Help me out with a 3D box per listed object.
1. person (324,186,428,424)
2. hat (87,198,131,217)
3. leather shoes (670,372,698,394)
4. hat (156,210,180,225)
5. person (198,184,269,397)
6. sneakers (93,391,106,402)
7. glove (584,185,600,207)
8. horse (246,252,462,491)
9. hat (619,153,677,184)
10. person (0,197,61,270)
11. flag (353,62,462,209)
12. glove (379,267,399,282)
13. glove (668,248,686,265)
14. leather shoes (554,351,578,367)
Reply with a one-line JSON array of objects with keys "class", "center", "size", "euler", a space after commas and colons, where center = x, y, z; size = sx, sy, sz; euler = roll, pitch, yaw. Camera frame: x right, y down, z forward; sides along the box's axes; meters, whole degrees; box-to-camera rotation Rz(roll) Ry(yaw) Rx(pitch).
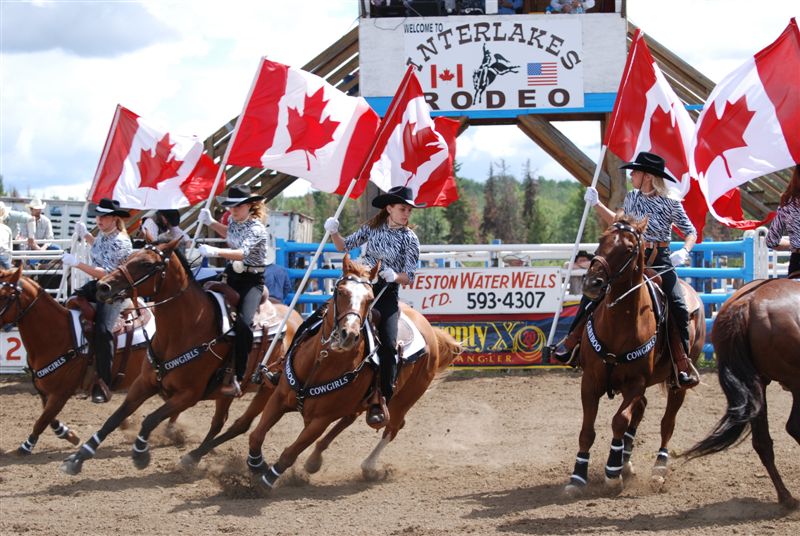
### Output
[{"class": "person", "center": [-0.366, 0.531, 18.792], "size": [1.002, 3.454, 1.051], "euler": [14, 19, 27]}, {"class": "hat", "center": [-4.065, -0.847, 19.652], "size": [0.316, 0.166, 0.379], "euler": [12, 3, 26]}, {"class": "leather shoes", "center": [3.873, 1.589, 18.858], "size": [0.344, 0.150, 0.265], "euler": [-8, 23, -30]}, {"class": "hat", "center": [-3.517, -0.770, 20.976], "size": [0.240, 0.307, 0.210], "euler": [-15, -5, 39]}, {"class": "person", "center": [-2.342, 0.204, 19.407], "size": [0.852, 2.664, 1.164], "euler": [1, 8, -14]}, {"class": "sneakers", "center": [-4.285, 1.869, 19.856], "size": [0.157, 0.202, 0.126], "euler": [-2, 3, -3]}, {"class": "glove", "center": [2.594, -0.991, 18.931], "size": [0.271, 0.202, 0.078], "euler": [49, -18, -22]}, {"class": "horse", "center": [-0.651, 1.281, 18.644], "size": [1.436, 3.205, 2.911], "euler": [10, 16, 38]}, {"class": "hat", "center": [3.395, -1.387, 18.741], "size": [0.496, 0.235, 0.450], "euler": [24, -2, -18]}, {"class": "person", "center": [-6.619, -0.699, 24.892], "size": [0.851, 0.584, 1.743], "euler": [6, 25, -9]}, {"class": "flag", "center": [0.298, -1.886, 19.754], "size": [1.686, 2.003, 0.788], "euler": [-11, 17, -40]}, {"class": "glove", "center": [-0.146, 0.079, 18.320], "size": [0.179, 0.172, 0.072], "euler": [6, 27, -1]}, {"class": "glove", "center": [3.758, -0.186, 18.573], "size": [0.214, 0.063, 0.162], "euler": [-31, -15, -23]}, {"class": "leather shoes", "center": [2.282, 1.237, 18.998], "size": [0.283, 0.139, 0.200], "euler": [5, -3, 30]}]
